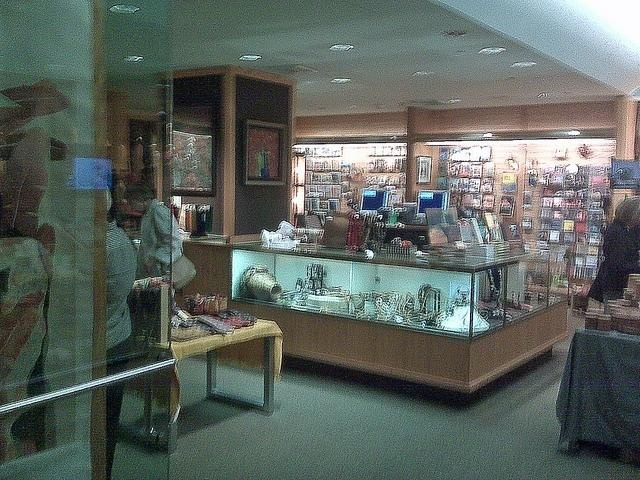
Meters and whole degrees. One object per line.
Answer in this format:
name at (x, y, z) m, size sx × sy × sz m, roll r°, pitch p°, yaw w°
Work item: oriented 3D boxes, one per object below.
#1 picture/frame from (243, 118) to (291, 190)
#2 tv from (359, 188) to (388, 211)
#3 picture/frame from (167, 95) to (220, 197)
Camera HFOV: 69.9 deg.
picture/frame at (-0.872, -1.440, 7.683) m, size 0.134 × 1.024 × 0.931 m, roll 5°, pitch 7°, yaw 38°
tv at (0.833, -0.611, 7.053) m, size 0.368 × 0.344 × 0.095 m, roll 4°, pitch -5°, yaw 33°
picture/frame at (-2.051, -1.497, 7.390) m, size 0.856 × 1.561 × 0.200 m, roll 4°, pitch 6°, yaw 23°
